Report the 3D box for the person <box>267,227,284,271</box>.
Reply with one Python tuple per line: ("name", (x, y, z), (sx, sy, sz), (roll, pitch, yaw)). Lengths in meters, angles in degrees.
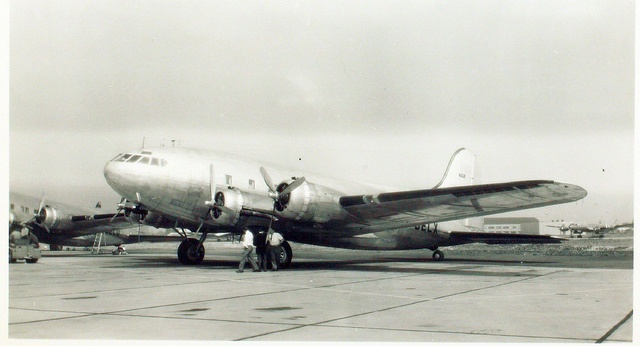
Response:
("person", (-1.735, 2.920, 27.929), (0.546, 1.680, 0.791), (2, 8, -1))
